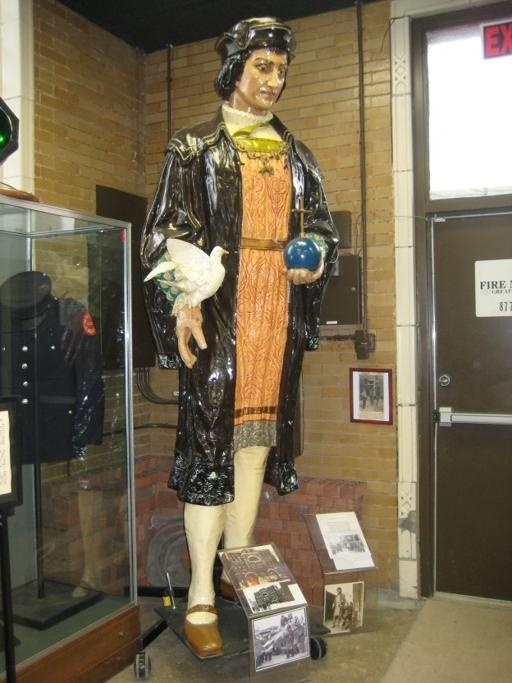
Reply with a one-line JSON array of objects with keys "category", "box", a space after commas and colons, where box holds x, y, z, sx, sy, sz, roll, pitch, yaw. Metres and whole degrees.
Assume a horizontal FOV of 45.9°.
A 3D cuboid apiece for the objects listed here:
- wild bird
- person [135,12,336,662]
[{"category": "wild bird", "box": [-0.211, -0.197, 1.851, 0.210, 0.136, 0.241, -3, -13, 23]}, {"category": "person", "box": [-0.037, -0.016, 2.034, 0.631, 2.014, 0.564, -1, -5, 5]}]
